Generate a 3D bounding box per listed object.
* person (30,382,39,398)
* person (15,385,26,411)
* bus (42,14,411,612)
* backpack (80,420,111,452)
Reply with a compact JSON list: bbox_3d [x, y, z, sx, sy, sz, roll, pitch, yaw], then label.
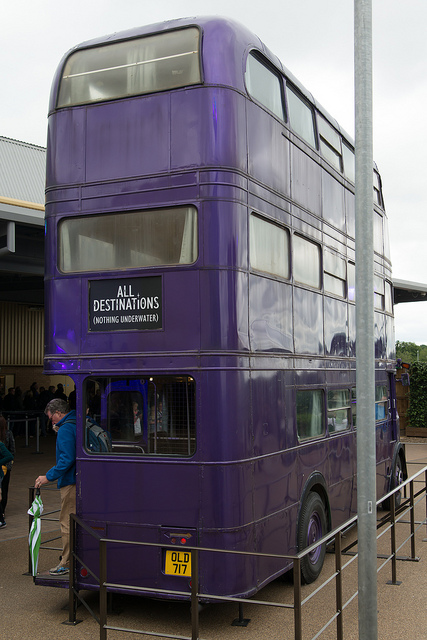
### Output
[{"bbox_3d":[-7.626,2.968,24.408,0.304,0.612,1.720,0,-5,-20],"label":"person"},{"bbox_3d":[-7.907,3.203,23.441,0.396,0.840,2.324,0,-5,-20],"label":"person"},{"bbox_3d":[0.939,0.099,6.750,1.629,5.234,4.492,-6,-8,34],"label":"bus"},{"bbox_3d":[-1.037,1.031,5.057,0.193,0.324,0.215,2,-1,6],"label":"backpack"}]
